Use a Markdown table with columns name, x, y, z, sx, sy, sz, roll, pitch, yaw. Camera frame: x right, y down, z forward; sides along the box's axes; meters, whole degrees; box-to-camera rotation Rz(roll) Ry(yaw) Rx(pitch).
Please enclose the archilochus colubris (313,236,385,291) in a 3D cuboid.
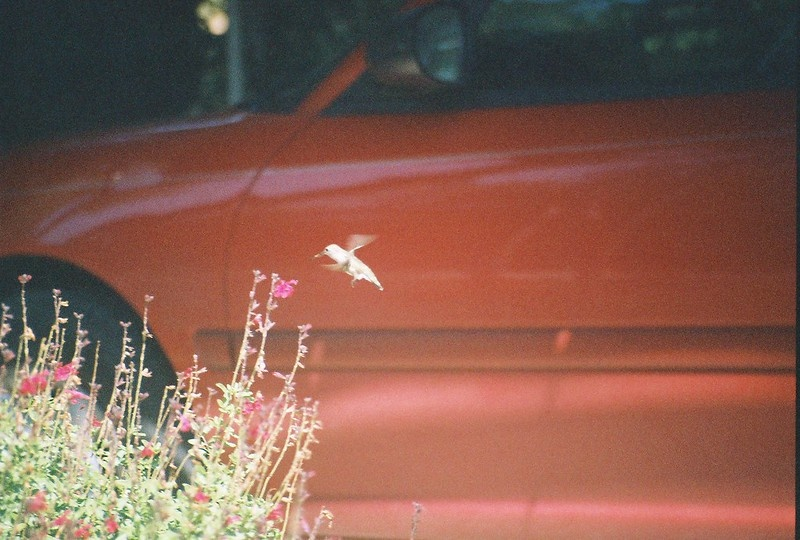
| name | x | y | z | sx | sy | sz | roll | pitch | yaw |
| --- | --- | --- | --- | --- | --- | --- | --- | --- | --- |
| archilochus colubris | -0.207 | -0.012 | 5.013 | 0.279 | 0.149 | 0.259 | -2 | -17 | 42 |
